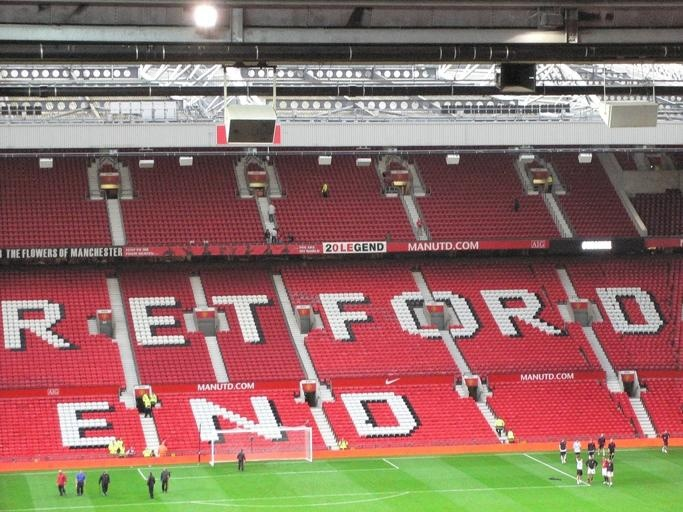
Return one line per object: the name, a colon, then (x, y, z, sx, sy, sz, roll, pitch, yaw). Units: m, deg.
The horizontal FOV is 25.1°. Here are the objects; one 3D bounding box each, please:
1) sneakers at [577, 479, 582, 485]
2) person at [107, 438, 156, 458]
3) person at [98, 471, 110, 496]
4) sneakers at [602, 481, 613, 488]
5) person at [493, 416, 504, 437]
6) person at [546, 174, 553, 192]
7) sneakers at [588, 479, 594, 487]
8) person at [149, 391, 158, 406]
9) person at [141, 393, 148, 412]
sneakers: (10.649, 10.073, 68.392, 0.208, 0.229, 0.171, 1, -3, 13)
person: (-9.920, 9.042, 71.643, 1.461, 0.542, 1.042, 0, 2, 0)
person: (-10.253, 9.810, 66.265, 0.460, 1.170, 1.588, -8, -19, -10)
sneakers: (11.926, 10.167, 68.251, 0.151, 0.282, 0.418, -3, -12, -3)
person: (7.896, 8.375, 75.194, 0.646, 0.895, 0.600, -7, -19, -14)
person: (11.602, -4.053, 85.454, 0.255, 0.260, 1.052, -13, 26, 31)
sneakers: (11.188, 10.068, 68.339, 0.160, 0.336, 0.233, 6, 1, 7)
person: (-9.094, 6.896, 74.170, 0.256, 0.743, 0.518, -12, -18, 4)
person: (-9.444, 7.063, 73.875, 0.262, 0.778, 0.568, -5, -19, -18)
